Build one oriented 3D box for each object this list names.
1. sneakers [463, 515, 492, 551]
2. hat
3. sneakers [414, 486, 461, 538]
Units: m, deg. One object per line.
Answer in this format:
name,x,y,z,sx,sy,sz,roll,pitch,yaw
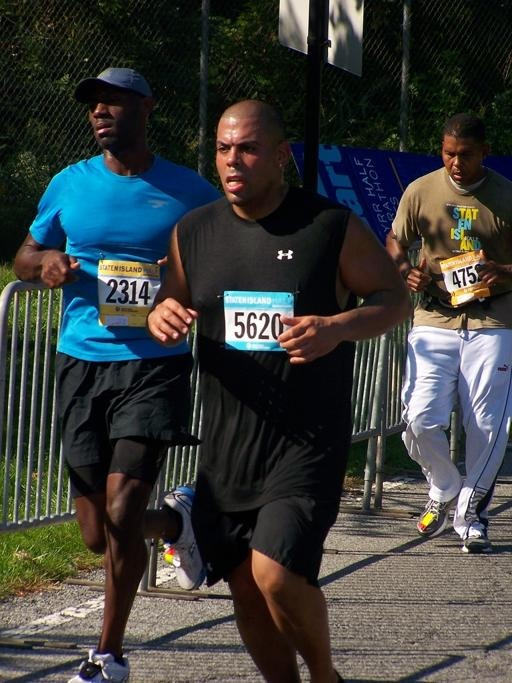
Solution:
sneakers,1.125,0.997,4.534,0.090,0.099,0.232,-1,-7,9
hat,-0.516,-0.954,3.225,0.166,0.098,0.241,-10,-13,43
sneakers,0.993,0.955,4.879,0.113,0.314,0.128,27,-15,21
